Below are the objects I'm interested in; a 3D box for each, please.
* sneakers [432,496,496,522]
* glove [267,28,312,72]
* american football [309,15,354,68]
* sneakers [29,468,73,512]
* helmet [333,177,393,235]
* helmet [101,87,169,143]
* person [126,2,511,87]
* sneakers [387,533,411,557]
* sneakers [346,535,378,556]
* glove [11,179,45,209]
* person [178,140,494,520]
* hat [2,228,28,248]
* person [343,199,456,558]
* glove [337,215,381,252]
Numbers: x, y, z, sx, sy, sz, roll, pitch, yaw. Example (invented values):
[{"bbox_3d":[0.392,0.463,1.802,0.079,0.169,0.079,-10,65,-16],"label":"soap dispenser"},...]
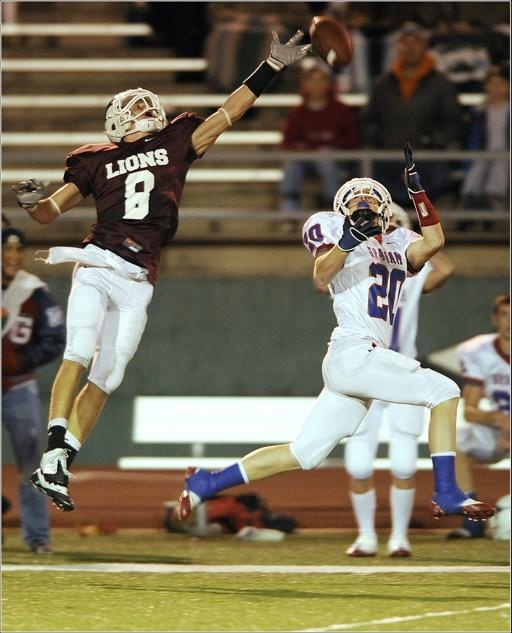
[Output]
[{"bbox_3d":[0.773,0.724,3.526,0.262,0.083,0.092,-7,-5,32],"label":"sneakers"},{"bbox_3d":[0.169,-1.206,4.250,0.246,0.205,0.069,-27,-21,-34],"label":"glove"},{"bbox_3d":[0.339,-1.292,4.367,0.195,0.258,0.272,4,5,1],"label":"american football"},{"bbox_3d":[-0.813,0.693,3.697,0.161,0.196,0.184,3,5,-12],"label":"sneakers"},{"bbox_3d":[0.434,-0.469,3.860,0.270,0.224,0.274,3,30,6],"label":"helmet"},{"bbox_3d":[-0.552,-0.902,4.173,0.304,0.187,0.253,2,9,45],"label":"helmet"},{"bbox_3d":[0.703,-2.698,9.279,3.934,0.963,0.965,0,-2,1],"label":"person"},{"bbox_3d":[0.733,1.181,4.881,0.091,0.051,0.140,4,21,0],"label":"sneakers"},{"bbox_3d":[0.539,1.189,4.860,0.156,0.110,0.189,4,5,7],"label":"sneakers"},{"bbox_3d":[-0.973,-0.530,4.014,0.128,0.131,0.073,4,36,-15],"label":"glove"},{"bbox_3d":[0.431,0.079,3.823,1.227,1.554,0.603,6,6,20],"label":"person"},{"bbox_3d":[-1.339,-0.443,5.176,0.121,0.068,0.131,2,0,3],"label":"hat"},{"bbox_3d":[0.671,0.446,5.176,0.956,1.579,0.417,4,-6,-7],"label":"person"},{"bbox_3d":[0.382,-0.317,3.575,0.146,0.133,0.046,19,13,11],"label":"glove"}]
